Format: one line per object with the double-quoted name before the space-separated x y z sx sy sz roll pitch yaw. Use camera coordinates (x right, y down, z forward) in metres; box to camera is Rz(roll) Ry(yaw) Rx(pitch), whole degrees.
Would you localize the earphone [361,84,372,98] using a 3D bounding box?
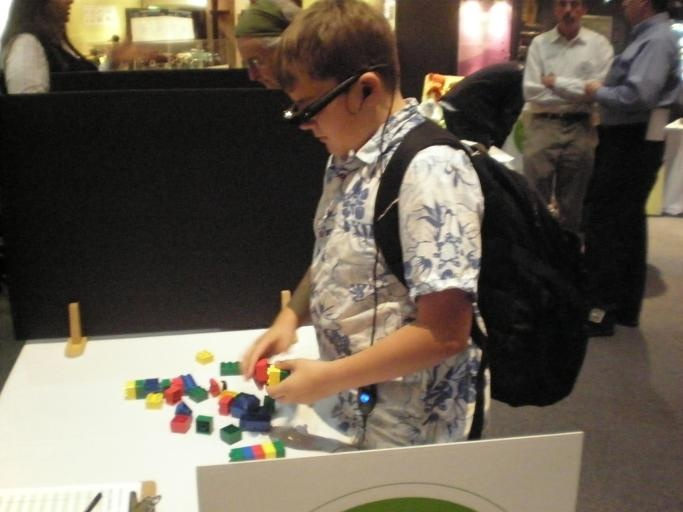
"earphone" 0.053 -0.352 1.337 0.015 0.023 0.022 0 37 4
